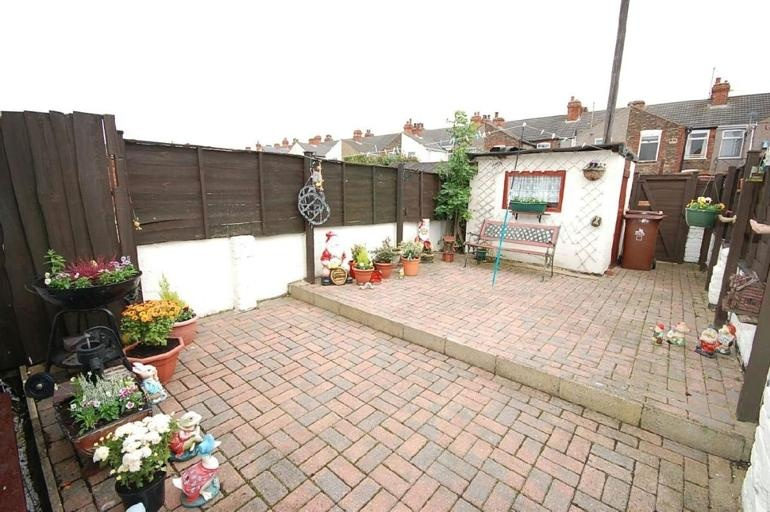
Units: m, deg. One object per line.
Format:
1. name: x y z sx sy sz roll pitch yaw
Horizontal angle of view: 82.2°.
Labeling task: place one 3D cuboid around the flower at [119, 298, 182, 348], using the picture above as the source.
1. flower: -3.111 0.914 5.899 0.711 0.572 0.455 -9 15 -25

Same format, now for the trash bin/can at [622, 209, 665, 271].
1. trash bin/can: 5.810 -0.355 10.063 0.732 1.333 0.350 5 16 28

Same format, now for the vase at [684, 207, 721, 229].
1. vase: 5.801 -0.699 8.121 0.407 0.264 0.494 6 3 31

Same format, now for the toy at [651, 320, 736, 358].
1. toy: 4.499 1.172 6.385 0.576 0.296 0.760 -11 12 -44

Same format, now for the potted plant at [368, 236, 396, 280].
1. potted plant: 0.015 0.080 9.125 0.729 0.997 0.730 1 5 6

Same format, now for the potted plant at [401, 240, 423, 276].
1. potted plant: 0.531 0.055 9.285 0.624 0.852 0.614 0 4 -4

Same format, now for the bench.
1. bench: 2.880 -0.224 9.961 1.216 1.109 2.130 -13 17 -38

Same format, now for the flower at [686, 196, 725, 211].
1. flower: 6.308 -1.042 8.661 0.596 0.199 0.613 4 12 27
